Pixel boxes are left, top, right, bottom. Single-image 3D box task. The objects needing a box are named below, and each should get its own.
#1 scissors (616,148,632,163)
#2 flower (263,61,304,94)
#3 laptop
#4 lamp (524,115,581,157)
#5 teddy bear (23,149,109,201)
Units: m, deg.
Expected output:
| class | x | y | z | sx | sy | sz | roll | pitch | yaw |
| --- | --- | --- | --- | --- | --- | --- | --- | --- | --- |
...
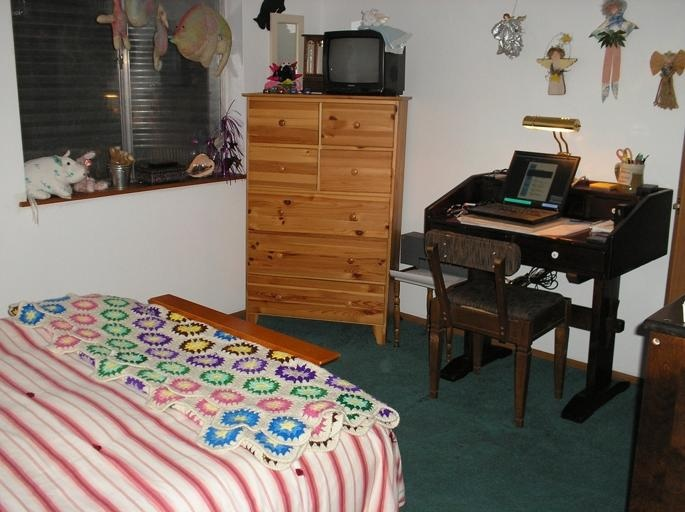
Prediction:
| class | x | y | z | sx | sy | sz | roll | pitch | yaw |
| --- | --- | --- | --- | --- | --- | --- | --- | --- | --- |
| scissors | 1.734 | -0.624 | 3.304 | 0.052 | 0.130 | 0.051 | -2 | 1 | -8 |
| flower | -0.439 | -1.312 | 3.950 | 0.271 | 0.229 | 0.470 | 0 | 17 | -5 |
| laptop | 1.186 | -0.436 | 3.377 | 0.607 | 0.372 | 0.568 | -12 | 21 | -39 |
| lamp | 1.374 | -0.786 | 3.481 | 0.293 | 0.210 | 0.161 | 20 | 39 | 38 |
| teddy bear | -1.776 | -0.523 | 3.449 | 0.448 | 0.161 | 0.308 | 2 | 17 | -5 |
